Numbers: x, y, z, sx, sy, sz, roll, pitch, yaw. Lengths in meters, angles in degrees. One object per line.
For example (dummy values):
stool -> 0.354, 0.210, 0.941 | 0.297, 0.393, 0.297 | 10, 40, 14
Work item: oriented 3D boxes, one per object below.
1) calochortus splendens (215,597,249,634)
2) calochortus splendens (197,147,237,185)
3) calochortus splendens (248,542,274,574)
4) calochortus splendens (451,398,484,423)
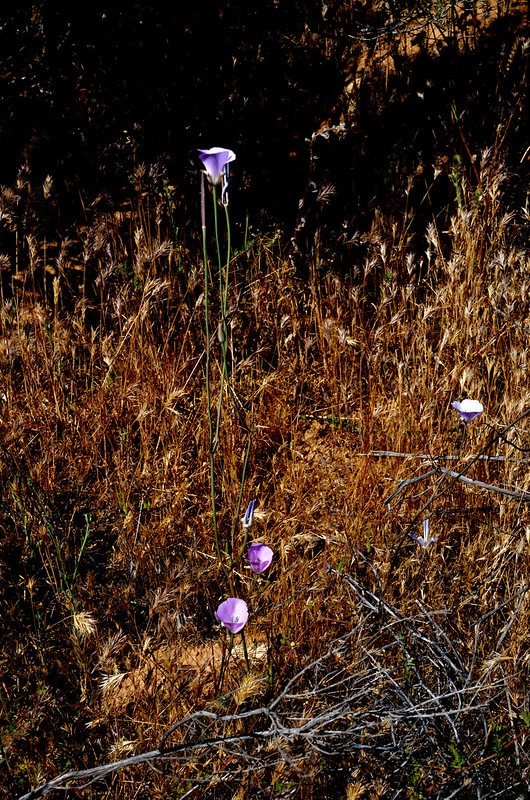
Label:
calochortus splendens -> -0.084, 0.583, 2.871 | 0.076, 0.072, 0.085 | -21, 44, -17
calochortus splendens -> -0.146, -0.648, 3.064 | 0.081, 0.098, 0.116 | 1, 89, 0
calochortus splendens -> -0.017, 0.432, 2.923 | 0.056, 0.066, 0.077 | -10, 35, 6
calochortus splendens -> 0.601, 0.043, 3.222 | 0.065, 0.055, 0.084 | -13, 30, -22
